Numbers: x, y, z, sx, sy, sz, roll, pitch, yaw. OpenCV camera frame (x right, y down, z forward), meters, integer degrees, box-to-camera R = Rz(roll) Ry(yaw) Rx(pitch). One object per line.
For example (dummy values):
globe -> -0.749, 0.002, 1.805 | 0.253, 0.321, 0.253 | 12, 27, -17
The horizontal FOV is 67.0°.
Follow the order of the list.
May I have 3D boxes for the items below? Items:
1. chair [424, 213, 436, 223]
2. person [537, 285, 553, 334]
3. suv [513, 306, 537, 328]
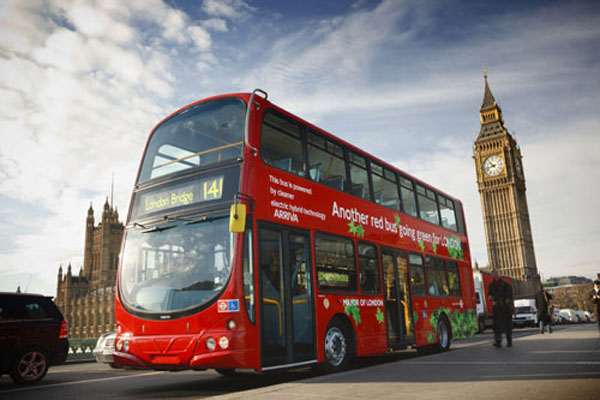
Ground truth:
chair -> 4.646, 0.618, 15.893 | 0.325, 0.435, 0.593 | -9, -11, 43
person -> 10.447, 4.683, 19.187 | 0.717, 2.176, 0.608 | -5, -47, 26
suv -> 18.820, 9.716, 37.612 | 2.221, 1.778, 1.256 | 1, -11, -27
